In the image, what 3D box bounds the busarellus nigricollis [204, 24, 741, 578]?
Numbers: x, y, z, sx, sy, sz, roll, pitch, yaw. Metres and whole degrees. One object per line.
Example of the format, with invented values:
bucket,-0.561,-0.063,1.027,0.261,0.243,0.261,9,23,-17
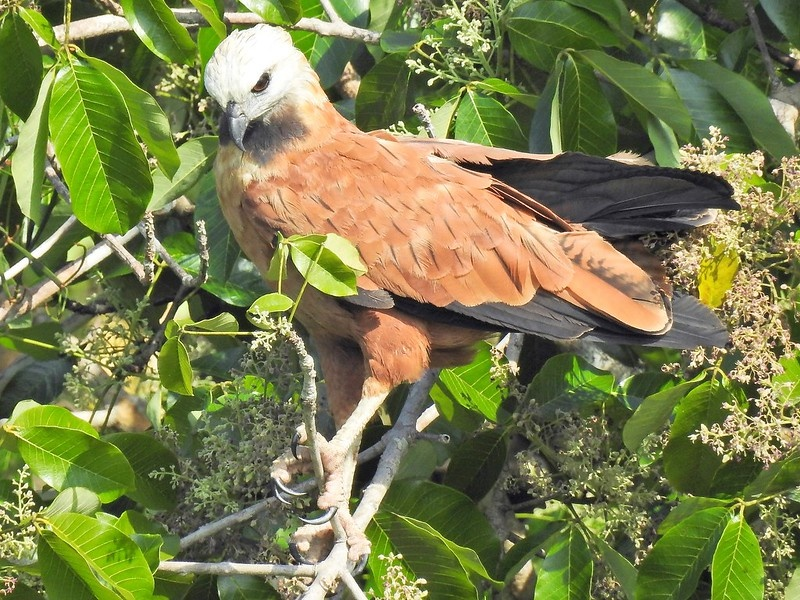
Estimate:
busarellus nigricollis,0.226,-0.055,5.178,2.111,1.828,0.783,2,5,-15
